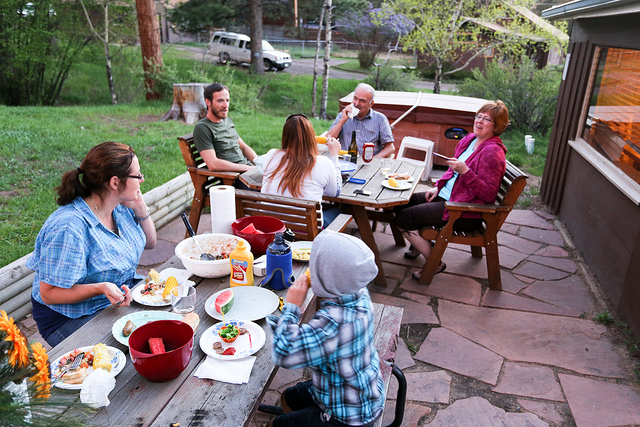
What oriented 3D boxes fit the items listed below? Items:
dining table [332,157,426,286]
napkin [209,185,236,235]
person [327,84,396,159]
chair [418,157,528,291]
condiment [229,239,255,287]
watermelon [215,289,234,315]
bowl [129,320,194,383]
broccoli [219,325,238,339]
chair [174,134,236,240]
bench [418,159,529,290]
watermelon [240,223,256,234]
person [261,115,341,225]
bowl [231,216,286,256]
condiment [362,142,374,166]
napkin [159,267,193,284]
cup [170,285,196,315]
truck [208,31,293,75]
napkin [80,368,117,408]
[{"bbox_3d":[0.750,0.048,5.201,1.289,0.861,1.352,6,26,15],"label":"dining table"},{"bbox_3d":[-0.812,-0.042,3.673,0.260,0.257,0.442,-9,62,1],"label":"napkin"},{"bbox_3d":[0.584,-1.043,6.165,1.022,1.449,0.752,3,16,0],"label":"person"},{"bbox_3d":[1.840,0.070,5.091,1.055,1.280,1.077,6,16,28],"label":"chair"},{"bbox_3d":[-0.549,0.365,3.063,0.176,0.315,0.183,-1,23,-14],"label":"condiment"},{"bbox_3d":[-0.638,0.594,2.890,0.106,0.111,0.154,12,24,17],"label":"watermelon"},{"bbox_3d":[-0.898,0.769,2.519,0.318,0.221,0.358,2,25,1],"label":"bowl"},{"bbox_3d":[-0.567,0.740,2.675,0.066,0.036,0.066,5,30,-2],"label":"broccoli"},{"bbox_3d":[-1.430,-0.334,5.537,0.669,1.278,0.735,-3,24,-18],"label":"chair"},{"bbox_3d":[1.798,0.053,5.140,1.040,1.332,1.077,-1,19,13],"label":"bench"},{"bbox_3d":[-0.555,0.119,3.388,0.062,0.073,0.067,25,2,-29],"label":"watermelon"},{"bbox_3d":[-0.195,-0.410,4.433,0.769,1.154,0.601,-7,29,-17],"label":"person"},{"bbox_3d":[-0.503,0.143,3.450,0.352,0.181,0.350,3,19,-1],"label":"bowl"},{"bbox_3d":[0.588,-0.747,5.401,0.122,0.267,0.124,15,25,24],"label":"condiment"},{"bbox_3d":[-1.060,0.446,3.158,0.230,0.037,0.139,10,23,12],"label":"napkin"},{"bbox_3d":[-0.910,0.576,2.869,0.157,0.176,0.166,1,11,0],"label":"cup"},{"bbox_3d":[-4.171,-8.921,23.651,4.856,2.124,2.662,14,36,18],"label":"truck"},{"bbox_3d":[-1.204,0.947,2.333,0.175,0.150,0.187,-2,24,-17],"label":"napkin"}]
